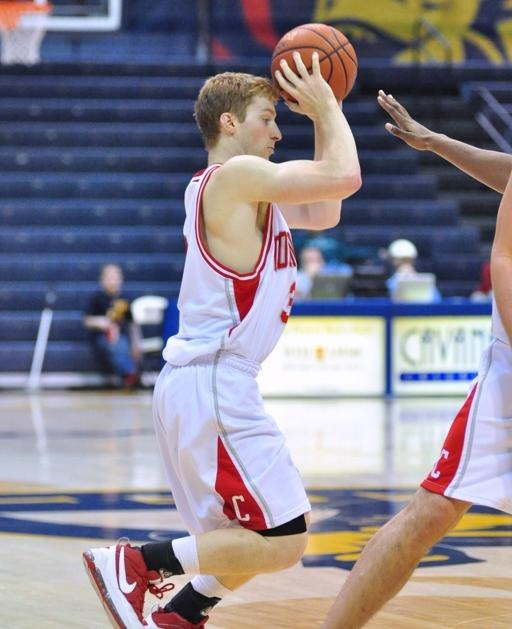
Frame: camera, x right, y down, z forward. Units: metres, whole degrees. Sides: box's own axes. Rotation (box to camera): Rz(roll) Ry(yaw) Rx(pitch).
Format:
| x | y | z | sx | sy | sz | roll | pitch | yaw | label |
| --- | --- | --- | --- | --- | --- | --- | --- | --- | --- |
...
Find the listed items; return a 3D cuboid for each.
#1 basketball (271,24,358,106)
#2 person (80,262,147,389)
| x | y | z | sx | sy | sz | roll | pitch | yaw | label |
| --- | --- | --- | --- | --- | --- | --- | --- | --- | --- |
| 0.179 | -0.737 | 2.965 | 0.312 | 0.234 | 0.277 | 2 | 11 | -28 | basketball |
| -1.698 | 0.152 | 11.425 | 0.531 | 1.498 | 0.614 | 10 | 12 | 40 | person |
